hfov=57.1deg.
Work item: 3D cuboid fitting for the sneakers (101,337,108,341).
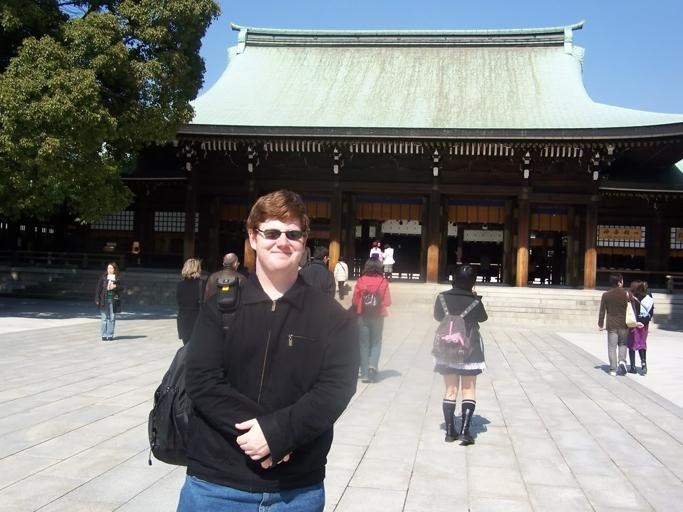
[{"bbox_3d":[-4.836,1.673,12.822,0.128,0.094,0.046,0,1,-14],"label":"sneakers"}]

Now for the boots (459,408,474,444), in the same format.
[{"bbox_3d":[1.520,2.040,7.628,0.168,0.426,0.192,2,3,12],"label":"boots"}]

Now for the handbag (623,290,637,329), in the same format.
[{"bbox_3d":[5.096,0.925,11.026,0.184,0.622,0.314,3,3,31],"label":"handbag"}]

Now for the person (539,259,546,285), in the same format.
[{"bbox_3d":[7.436,0.529,23.152,0.259,0.878,0.430,2,3,18],"label":"person"}]

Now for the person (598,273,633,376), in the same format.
[{"bbox_3d":[4.855,1.197,11.192,0.503,1.760,0.679,3,3,25],"label":"person"}]

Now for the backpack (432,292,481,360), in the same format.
[{"bbox_3d":[1.428,0.860,7.716,0.700,0.945,0.386,1,-8,12],"label":"backpack"}]

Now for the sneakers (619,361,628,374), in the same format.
[{"bbox_3d":[4.996,1.959,11.152,0.112,0.247,0.405,3,4,29],"label":"sneakers"}]

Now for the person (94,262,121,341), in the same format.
[{"bbox_3d":[-4.868,0.913,13.130,0.466,1.582,0.908,0,3,-20],"label":"person"}]

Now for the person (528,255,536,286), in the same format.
[{"bbox_3d":[7.123,0.462,23.489,0.233,0.980,0.357,2,3,18],"label":"person"}]

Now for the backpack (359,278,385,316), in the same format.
[{"bbox_3d":[0.495,0.658,10.003,0.360,0.569,0.192,1,3,-6],"label":"backpack"}]
